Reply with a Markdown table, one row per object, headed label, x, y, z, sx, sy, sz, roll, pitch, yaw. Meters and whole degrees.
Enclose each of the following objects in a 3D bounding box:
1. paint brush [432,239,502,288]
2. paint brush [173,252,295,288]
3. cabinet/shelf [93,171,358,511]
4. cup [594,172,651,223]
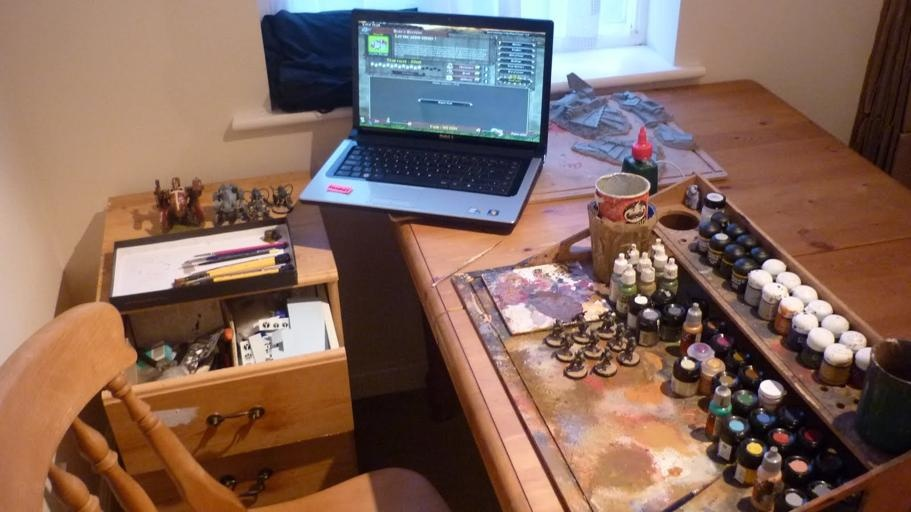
| label | x | y | z | sx | sy | sz | roll | pitch | yaw |
| --- | --- | --- | --- | --- | --- | --- | --- | --- | --- |
| paint brush | 0.030 | 0.025 | 1.591 | 0.234 | 0.032 | 0.011 | -26 | -6 | -12 |
| paint brush | -0.600 | 0.042 | 1.673 | 0.250 | 0.033 | 0.040 | -12 | 37 | -13 |
| cabinet/shelf | -0.576 | 0.287 | 1.978 | 0.759 | 1.052 | 0.869 | -13 | 50 | -10 |
| cup | 0.407 | -0.141 | 1.495 | 0.132 | 0.131 | 0.133 | -3 | 30 | 2 |
